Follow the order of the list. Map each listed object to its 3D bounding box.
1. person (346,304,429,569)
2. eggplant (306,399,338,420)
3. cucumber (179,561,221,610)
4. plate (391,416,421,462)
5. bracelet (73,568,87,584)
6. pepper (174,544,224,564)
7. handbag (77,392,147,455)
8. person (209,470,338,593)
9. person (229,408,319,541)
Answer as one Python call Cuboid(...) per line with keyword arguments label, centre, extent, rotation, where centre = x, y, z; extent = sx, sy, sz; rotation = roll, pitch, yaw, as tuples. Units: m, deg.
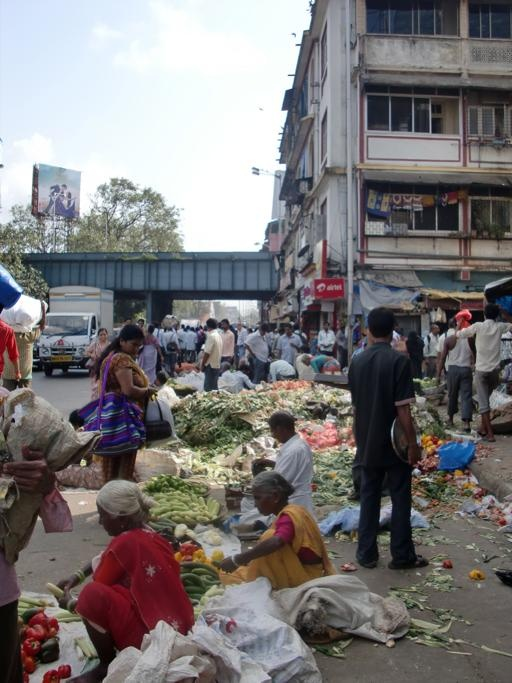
Cuboid(label="person", centre=(0.932, 0.715, 4.800), extent=(0.427, 1.845, 0.687), rotation=(3, 2, -41))
Cuboid(label="eggplant", centre=(0.988, 1.127, 10.290), extent=(0.272, 0.138, 0.352), rotation=(9, 0, -12))
Cuboid(label="cucumber", centre=(-0.340, 1.477, 3.893), extent=(0.172, 0.076, 0.137), rotation=(42, 9, 30))
Cuboid(label="plate", centre=(1.006, 0.735, 4.604), extent=(0.046, 0.270, 0.274), rotation=(-8, 8, 30))
Cuboid(label="bracelet", centre=(-0.862, 1.215, 3.263), extent=(0.054, 0.028, 0.076), rotation=(-2, 39, 28))
Cuboid(label="pepper", centre=(-0.400, 1.495, 4.377), extent=(0.204, 0.082, 0.207), rotation=(1, -9, 29))
Cuboid(label="handbag", centre=(-1.019, 0.632, 4.782), extent=(0.556, 0.579, 0.307), rotation=(0, -13, -10))
Cuboid(label="person", centre=(0.129, 1.222, 4.006), extent=(0.675, 0.801, 0.671), rotation=(-3, -26, 7))
Cuboid(label="person", centre=(0.114, 1.125, 4.855), extent=(0.618, 1.123, 0.472), rotation=(2, -2, 15))
